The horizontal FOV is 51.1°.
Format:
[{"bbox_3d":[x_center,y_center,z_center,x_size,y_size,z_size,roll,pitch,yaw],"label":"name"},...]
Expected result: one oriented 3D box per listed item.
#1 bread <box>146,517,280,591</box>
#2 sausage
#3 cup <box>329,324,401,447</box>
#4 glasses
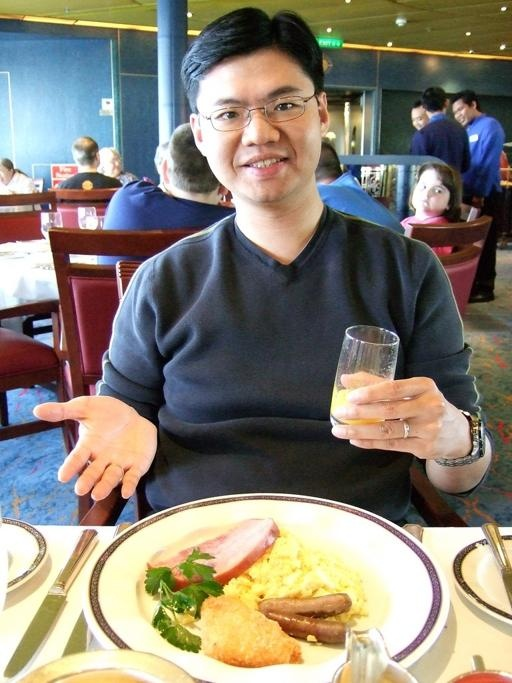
[{"bbox_3d":[-0.046,0.244,0.643,0.090,0.019,0.083,-17,2,0],"label":"bread"},{"bbox_3d":[0.060,0.273,0.533,0.074,0.020,0.045,7,27,-5],"label":"sausage"},{"bbox_3d":[0.162,0.051,0.800,0.087,0.135,0.261,4,18,13],"label":"cup"},{"bbox_3d":[0.009,-0.437,1.031,0.205,0.070,0.072,0,18,1],"label":"glasses"}]
